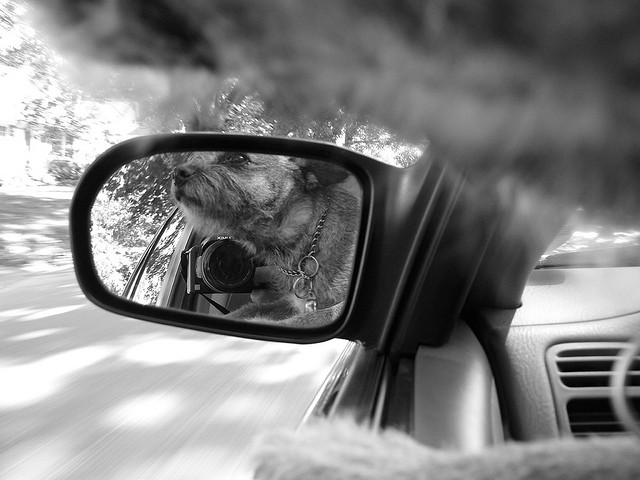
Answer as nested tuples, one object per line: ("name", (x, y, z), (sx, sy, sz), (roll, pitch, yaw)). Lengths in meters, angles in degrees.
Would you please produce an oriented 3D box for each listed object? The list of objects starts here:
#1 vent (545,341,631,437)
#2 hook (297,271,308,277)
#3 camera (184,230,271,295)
("vent", (0.606, 0.336, 0.993), (0.255, 0.239, 0.061), (-3, -12, -3))
("hook", (-0.063, 0.121, 1.530), (0.011, 0.019, 0.075), (-13, 18, -26))
("camera", (-0.378, 0.087, 1.704), (0.360, 0.229, 0.274), (-1, -7, -28))
